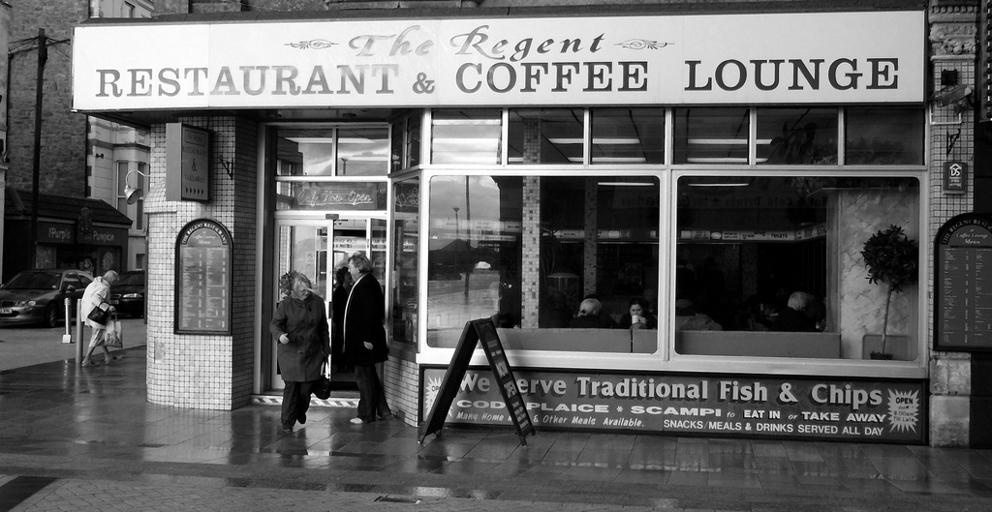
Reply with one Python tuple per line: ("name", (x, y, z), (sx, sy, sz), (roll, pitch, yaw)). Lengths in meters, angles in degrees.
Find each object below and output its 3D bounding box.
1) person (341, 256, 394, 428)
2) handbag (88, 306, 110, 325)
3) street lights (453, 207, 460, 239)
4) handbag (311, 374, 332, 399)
("person", (-2.432, 1.590, 18.481), (0.921, 3.243, 0.545), (4, -3, -25))
("handbag", (-9.724, 1.483, 23.548), (0.498, 0.447, 0.162), (27, 10, -37))
("street lights", (-0.738, -0.659, 18.424), (0.153, 0.536, 0.097), (2, -3, -3))
("handbag", (-3.265, 2.518, 18.278), (0.402, 0.398, 0.470), (0, -10, -2))
